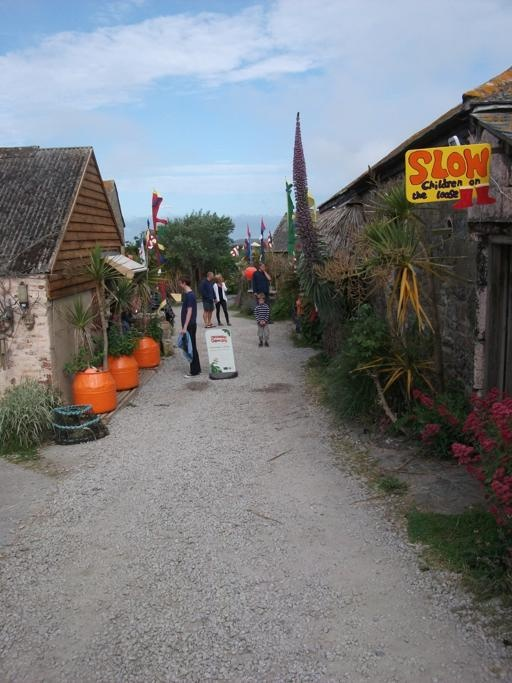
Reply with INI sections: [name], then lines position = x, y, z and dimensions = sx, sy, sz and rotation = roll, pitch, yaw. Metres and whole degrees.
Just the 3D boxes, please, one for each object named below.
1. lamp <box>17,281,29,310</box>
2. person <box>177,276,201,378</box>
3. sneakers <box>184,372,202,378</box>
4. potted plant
[lamp]
position = -3.280, -0.635, 7.141
dimensions = 0.145, 0.413, 0.118
rotation = -3, 8, 6
[person]
position = -1.368, -0.247, 10.188
dimensions = 0.386, 1.988, 0.711
rotation = -5, 8, -8
[sneakers]
position = -1.307, 0.675, 10.408
dimensions = 0.286, 0.116, 0.113
rotation = 2, 3, -6
[potted plant]
position = -2.631, -0.208, 9.294
dimensions = 1.308, 2.396, 2.851
rotation = -6, 21, 2
